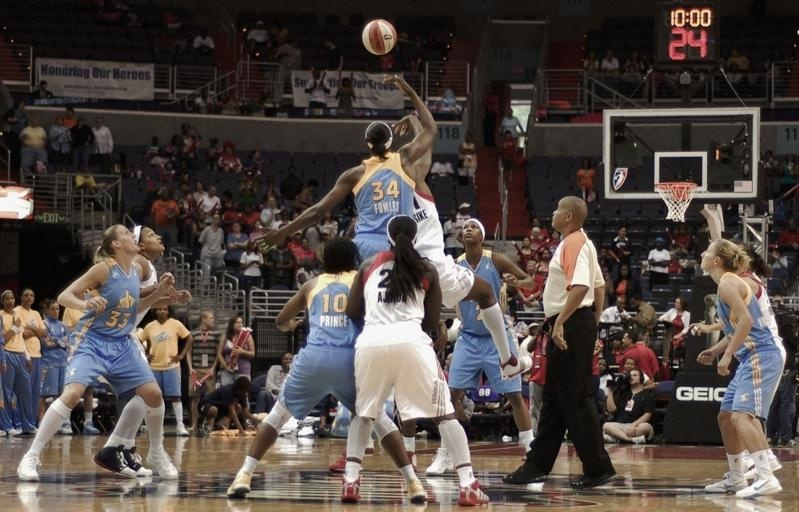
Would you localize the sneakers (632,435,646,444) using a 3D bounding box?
[{"bbox_3d":[4.986,3.797,25.017,0.204,0.110,0.150,0,2,-1],"label":"sneakers"}]

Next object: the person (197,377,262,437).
[{"bbox_3d":[-3.759,3.308,26.628,1.355,1.450,0.892,12,1,6],"label":"person"}]

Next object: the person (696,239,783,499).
[{"bbox_3d":[5.708,1.834,20.007,1.182,4.228,0.720,-2,-2,17],"label":"person"}]

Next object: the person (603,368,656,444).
[{"bbox_3d":[4.822,3.146,25.413,1.025,1.538,1.021,2,-6,15],"label":"person"}]

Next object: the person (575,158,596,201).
[{"bbox_3d":[5.421,-2.164,35.029,0.536,1.318,0.943,-2,-2,8],"label":"person"}]

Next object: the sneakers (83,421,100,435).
[{"bbox_3d":[-6.693,3.705,26.025,0.361,0.272,0.218,0,-2,3],"label":"sneakers"}]

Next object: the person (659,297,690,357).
[{"bbox_3d":[6.310,1.627,27.519,0.609,1.354,1.376,-2,-3,12],"label":"person"}]

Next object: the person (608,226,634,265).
[{"bbox_3d":[5.856,-0.060,31.761,0.534,1.313,0.452,1,-1,-5],"label":"person"}]

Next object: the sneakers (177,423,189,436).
[{"bbox_3d":[-4.699,3.775,25.989,0.155,0.280,0.495,3,-15,-20],"label":"sneakers"}]

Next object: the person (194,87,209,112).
[{"bbox_3d":[-6.547,-5.099,39.713,0.490,0.758,0.762,-1,-4,-8],"label":"person"}]

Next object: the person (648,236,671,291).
[{"bbox_3d":[6.738,0.172,31.279,0.604,1.244,0.830,-3,-3,29],"label":"person"}]

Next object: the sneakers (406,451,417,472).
[{"bbox_3d":[0.220,3.555,20.704,0.154,0.507,0.193,-8,21,4],"label":"sneakers"}]

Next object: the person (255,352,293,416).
[{"bbox_3d":[-2.804,2.979,27.284,0.527,1.627,0.898,15,-10,11],"label":"person"}]

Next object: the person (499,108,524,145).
[{"bbox_3d":[3.708,-3.946,39.771,0.823,1.780,0.537,-1,29,9],"label":"person"}]

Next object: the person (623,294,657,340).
[{"bbox_3d":[5.675,1.639,28.354,0.642,1.450,0.656,12,24,28],"label":"person"}]
